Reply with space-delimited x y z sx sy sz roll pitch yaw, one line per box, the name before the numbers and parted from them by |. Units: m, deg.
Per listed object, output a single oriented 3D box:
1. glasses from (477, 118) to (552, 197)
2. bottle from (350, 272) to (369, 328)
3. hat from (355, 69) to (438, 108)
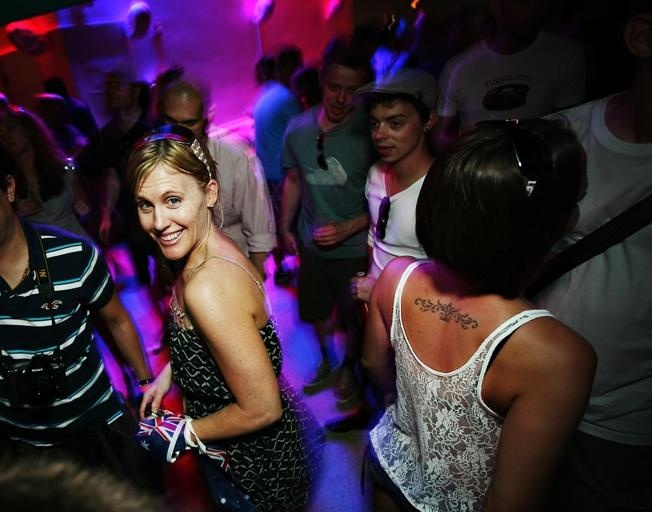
glasses | 0.618 -0.307 1.813 0.071 0.247 0.231 -7 29 -10
bottle | 0.215 0.267 3.536 0.111 0.383 0.111 -2 63 4
hat | 0.454 -0.975 3.281 0.347 0.170 0.252 6 27 -8
